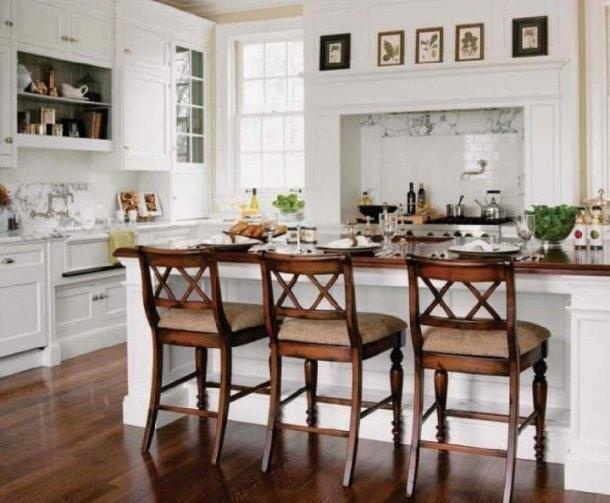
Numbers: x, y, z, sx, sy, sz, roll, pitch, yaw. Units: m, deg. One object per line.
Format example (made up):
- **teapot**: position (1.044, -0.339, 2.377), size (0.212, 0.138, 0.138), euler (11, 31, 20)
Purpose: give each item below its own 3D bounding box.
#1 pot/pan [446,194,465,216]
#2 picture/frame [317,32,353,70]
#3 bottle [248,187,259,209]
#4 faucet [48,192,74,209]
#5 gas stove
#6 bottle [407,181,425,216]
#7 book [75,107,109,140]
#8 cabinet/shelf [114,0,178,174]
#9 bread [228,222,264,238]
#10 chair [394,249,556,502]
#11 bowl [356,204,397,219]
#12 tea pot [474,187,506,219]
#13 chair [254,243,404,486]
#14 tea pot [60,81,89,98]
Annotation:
- **pot/pan**: position (1.599, -0.466, 5.640), size (0.161, 0.247, 0.263), euler (0, 6, 1)
- **picture/frame**: position (0.325, -2.105, 5.551), size (0.457, 0.482, 0.034), euler (2, 3, 21)
- **bottle**: position (-0.635, -0.641, 6.362), size (0.120, 0.264, 0.500), euler (-2, 5, -6)
- **faucet**: position (-2.433, -0.492, 5.191), size (0.088, 0.176, 0.340), euler (-1, 5, 6)
- **gas stove**: position (1.550, -0.251, 5.293), size (1.055, 0.169, 0.507), euler (1, 6, 27)
- **bottle**: position (1.204, -0.583, 5.698), size (0.203, 0.352, 0.456), euler (0, 5, 12)
- **book**: position (-2.107, -1.251, 5.177), size (0.314, 0.328, 0.075), euler (-1, 7, -5)
- **cabinet/shelf**: position (-1.708, -1.720, 5.584), size (0.235, 1.711, 0.817), euler (0, 5, 19)
- **bread**: position (-0.340, -0.137, 3.181), size (0.135, 0.040, 0.131), euler (5, 13, 36)
- **chair**: position (0.782, 0.518, 2.417), size (0.586, 1.057, 0.710), euler (1, 6, 29)
- **bowl**: position (0.771, -0.439, 5.539), size (0.334, 0.120, 0.335), euler (-1, 6, 0)
- **tea pot**: position (1.909, -0.483, 5.444), size (0.238, 0.332, 0.376), euler (7, 9, 43)
- **chair**: position (0.155, 0.501, 2.619), size (0.687, 1.038, 0.744), euler (0, 1, 8)
- **tea pot**: position (-2.199, -1.513, 5.048), size (0.150, 0.163, 0.265), euler (4, 5, 39)
